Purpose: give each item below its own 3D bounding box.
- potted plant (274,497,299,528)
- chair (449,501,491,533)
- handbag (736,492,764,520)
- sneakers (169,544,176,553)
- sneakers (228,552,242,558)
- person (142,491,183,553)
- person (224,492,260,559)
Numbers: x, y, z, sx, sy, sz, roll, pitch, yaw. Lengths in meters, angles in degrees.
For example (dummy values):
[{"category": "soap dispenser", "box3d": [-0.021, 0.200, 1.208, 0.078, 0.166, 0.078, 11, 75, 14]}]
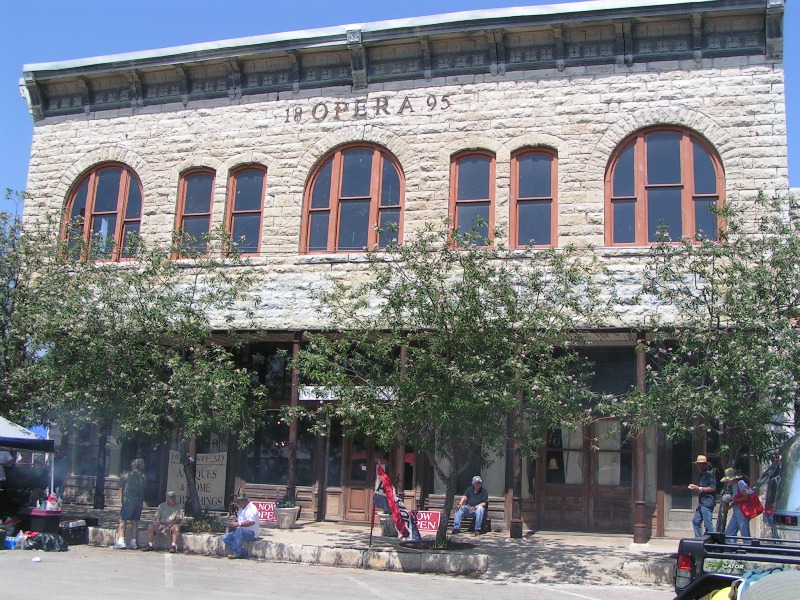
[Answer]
[{"category": "potted plant", "box3d": [-2.791, 5.235, 24.602, 0.627, 0.730, 0.568, 0, -15, -3]}, {"category": "chair", "box3d": [1.641, 5.316, 24.280, 0.617, 0.778, 0.703, 1, -36, 34]}, {"category": "handbag", "box3d": [6.933, 4.098, 19.979, 0.322, 0.571, 0.404, 20, -46, -42]}, {"category": "sneakers", "box3d": [-5.048, 5.531, 22.330, 0.148, 0.265, 0.160, 3, -8, -23]}, {"category": "sneakers", "box3d": [-3.606, 5.555, 21.796, 0.225, 0.150, 0.093, 6, -21, 3]}, {"category": "person", "box3d": [-5.272, 4.971, 22.551, 0.736, 1.296, 0.737, 5, -13, -14]}, {"category": "person", "box3d": [-3.485, 4.958, 21.900, 0.717, 1.314, 0.483, 0, -13, 8]}]
